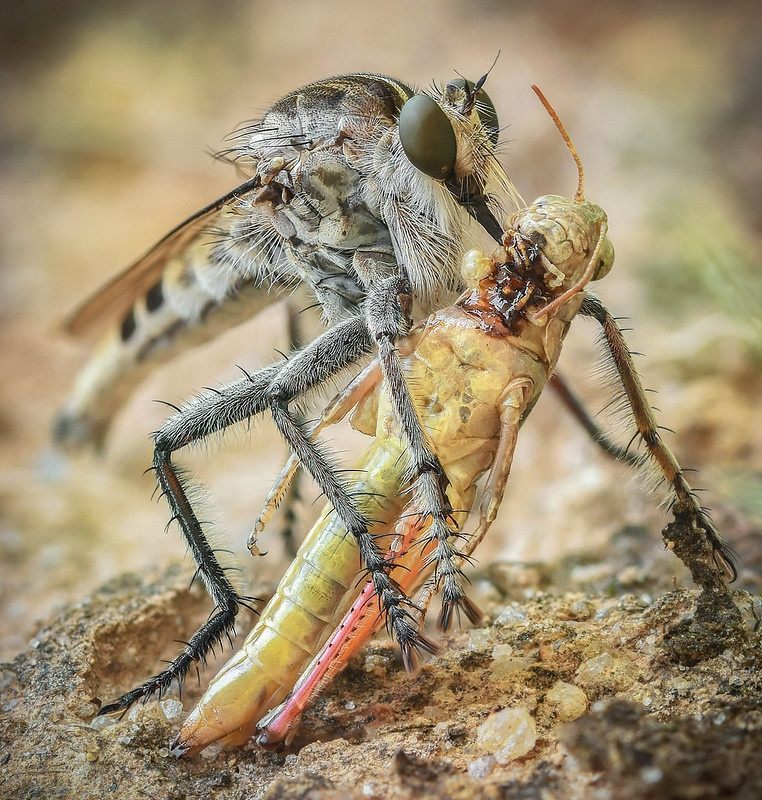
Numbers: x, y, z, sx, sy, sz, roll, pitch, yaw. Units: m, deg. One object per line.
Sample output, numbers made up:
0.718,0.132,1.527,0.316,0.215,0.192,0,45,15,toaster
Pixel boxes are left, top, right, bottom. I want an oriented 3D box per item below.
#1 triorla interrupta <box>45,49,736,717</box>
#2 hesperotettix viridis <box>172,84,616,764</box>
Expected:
0.262,0.019,2.133,1.005,1.331,1.393,-9,22,-32,triorla interrupta
0.069,0.051,1.824,0.710,1.080,1.013,-1,11,2,hesperotettix viridis
